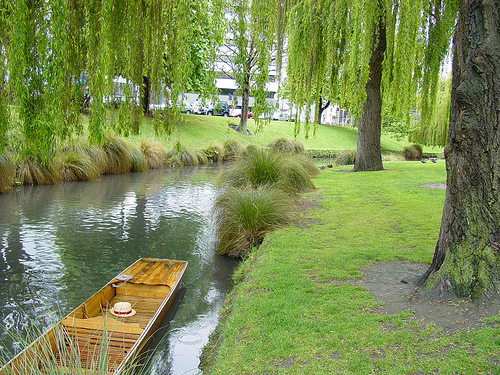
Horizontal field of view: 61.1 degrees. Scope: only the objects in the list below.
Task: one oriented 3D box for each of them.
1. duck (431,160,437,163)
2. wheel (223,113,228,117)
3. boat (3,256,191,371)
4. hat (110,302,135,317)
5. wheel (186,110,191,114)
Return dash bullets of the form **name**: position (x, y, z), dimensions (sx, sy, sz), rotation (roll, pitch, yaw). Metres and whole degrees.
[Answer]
- **duck**: position (7.637, -1.078, 17.517), dimensions (0.162, 0.085, 0.174), rotation (7, 11, 32)
- **wheel**: position (-2.442, -7.249, 42.386), dimensions (0.451, 0.303, 1.008), rotation (-6, 11, -4)
- **boat**: position (-1.472, 1.301, 4.639), dimensions (0.520, 0.284, 2.460), rotation (5, 4, 6)
- **hat**: position (-1.511, 1.448, 5.033), dimensions (0.261, 0.148, 0.217), rotation (1, 12, 28)
- **wheel**: position (-5.836, -7.160, 40.289), dimensions (0.463, 0.285, 1.443), rotation (-6, 11, -7)
